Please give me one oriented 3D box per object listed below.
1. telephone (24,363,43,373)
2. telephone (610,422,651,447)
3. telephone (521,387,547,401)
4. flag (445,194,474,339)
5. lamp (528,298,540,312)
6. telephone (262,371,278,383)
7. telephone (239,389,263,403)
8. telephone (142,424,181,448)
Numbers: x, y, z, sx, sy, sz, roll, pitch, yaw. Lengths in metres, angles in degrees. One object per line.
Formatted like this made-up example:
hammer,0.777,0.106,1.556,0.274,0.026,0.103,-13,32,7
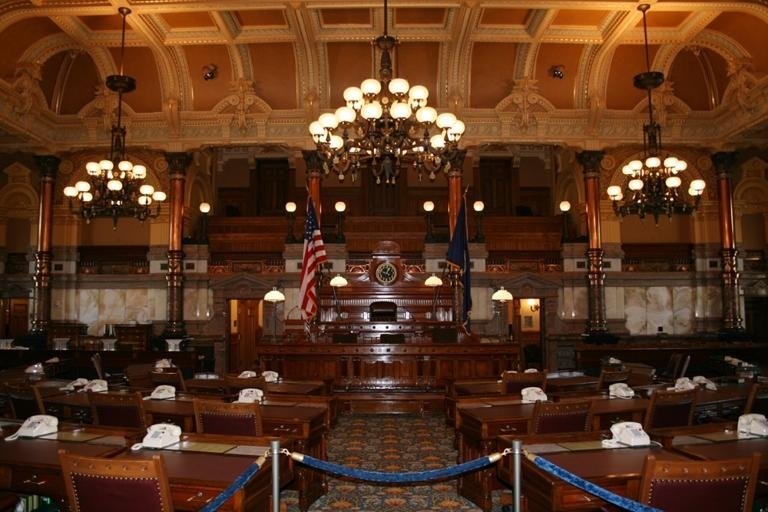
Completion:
telephone,-7.430,2.387,14.036,0.299,0.152,0.272,0,-6,-3
telephone,3.616,2.589,9.693,0.536,0.323,0.247,-1,-6,18
telephone,2.595,2.377,11.471,0.337,0.136,0.404,0,-6,10
flag,1.924,0.201,16.937,0.573,3.338,1.078,1,-6,6
lamp,5.774,1.882,25.554,0.356,0.463,0.378,1,-6,1
telephone,-2.244,2.379,13.121,0.307,0.071,0.291,1,4,19
telephone,-2.251,2.363,11.208,0.418,0.236,0.895,2,-5,-10
telephone,-3.168,2.567,9.503,0.474,0.198,0.358,1,-9,1
